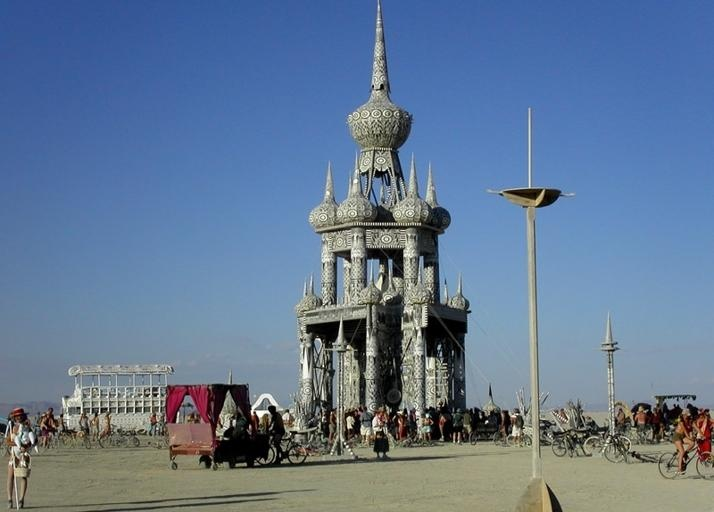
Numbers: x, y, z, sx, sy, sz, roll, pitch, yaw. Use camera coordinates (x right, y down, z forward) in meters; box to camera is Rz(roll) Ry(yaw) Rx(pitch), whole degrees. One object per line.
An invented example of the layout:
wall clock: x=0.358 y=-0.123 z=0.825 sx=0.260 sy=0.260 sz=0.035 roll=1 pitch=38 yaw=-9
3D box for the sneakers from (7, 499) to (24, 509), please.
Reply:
sneakers: x=-8.264 y=6.061 z=24.519 sx=0.197 sy=0.258 sz=0.572 roll=-2 pitch=-16 yaw=-3

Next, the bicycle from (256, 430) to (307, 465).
bicycle: x=-2.503 y=6.685 z=34.726 sx=1.894 sy=1.231 sz=0.995 roll=3 pitch=-16 yaw=-6

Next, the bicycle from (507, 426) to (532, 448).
bicycle: x=6.891 y=7.667 z=42.669 sx=1.206 sy=0.878 sz=0.826 roll=3 pitch=-12 yaw=16

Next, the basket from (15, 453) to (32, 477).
basket: x=-8.171 y=5.107 z=24.500 sx=0.378 sy=0.596 sz=0.335 roll=-2 pitch=-13 yaw=-1
